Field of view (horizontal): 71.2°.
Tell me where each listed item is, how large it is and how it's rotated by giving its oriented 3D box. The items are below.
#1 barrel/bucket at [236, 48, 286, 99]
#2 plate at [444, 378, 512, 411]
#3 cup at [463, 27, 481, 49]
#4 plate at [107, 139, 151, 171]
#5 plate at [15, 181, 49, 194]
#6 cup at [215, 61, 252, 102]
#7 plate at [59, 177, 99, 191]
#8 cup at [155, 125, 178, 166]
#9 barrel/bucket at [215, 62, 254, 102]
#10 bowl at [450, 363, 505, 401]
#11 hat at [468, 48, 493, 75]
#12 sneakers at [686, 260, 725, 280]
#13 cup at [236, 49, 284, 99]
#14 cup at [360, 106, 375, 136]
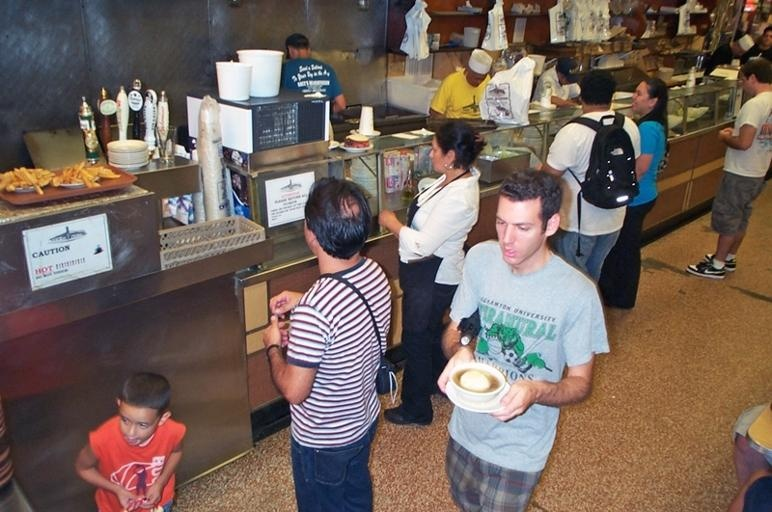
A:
[{"bbox_3d":[-0.696,-1.083,3.175,0.282,0.219,0.266,2,25,-1],"label":"barrel/bucket"},{"bbox_3d":[0.361,0.558,2.113,0.248,0.084,0.141,3,22,5],"label":"plate"},{"bbox_3d":[1.044,-2.729,6.721,0.168,0.238,0.270,16,26,33],"label":"cup"},{"bbox_3d":[-1.342,-0.534,2.806,0.172,0.113,0.177,11,26,14],"label":"plate"},{"bbox_3d":[-1.589,-0.296,2.400,0.126,0.028,0.090,-10,24,-25],"label":"plate"},{"bbox_3d":[-0.878,-1.004,3.103,0.225,0.192,0.202,-6,25,-19],"label":"cup"},{"bbox_3d":[-1.408,-0.328,2.469,0.175,0.035,0.042,-1,22,-5],"label":"plate"},{"bbox_3d":[-1.179,-0.594,2.885,0.095,0.171,0.186,-9,24,-22],"label":"cup"},{"bbox_3d":[-0.864,-1.001,3.105,0.226,0.186,0.202,-14,30,-34],"label":"barrel/bucket"},{"bbox_3d":[0.369,0.496,2.197,0.191,0.061,0.189,-9,16,2],"label":"bowl"},{"bbox_3d":[0.971,-2.033,5.534,0.202,0.165,0.265,10,45,-7],"label":"hat"},{"bbox_3d":[3.256,0.113,5.531,0.373,0.174,0.165,13,29,31],"label":"sneakers"},{"bbox_3d":[-0.701,-1.092,3.196,0.282,0.219,0.266,2,25,-1],"label":"cup"},{"bbox_3d":[-0.141,-1.010,4.063,0.116,0.213,0.273,0,22,-2],"label":"cup"}]
